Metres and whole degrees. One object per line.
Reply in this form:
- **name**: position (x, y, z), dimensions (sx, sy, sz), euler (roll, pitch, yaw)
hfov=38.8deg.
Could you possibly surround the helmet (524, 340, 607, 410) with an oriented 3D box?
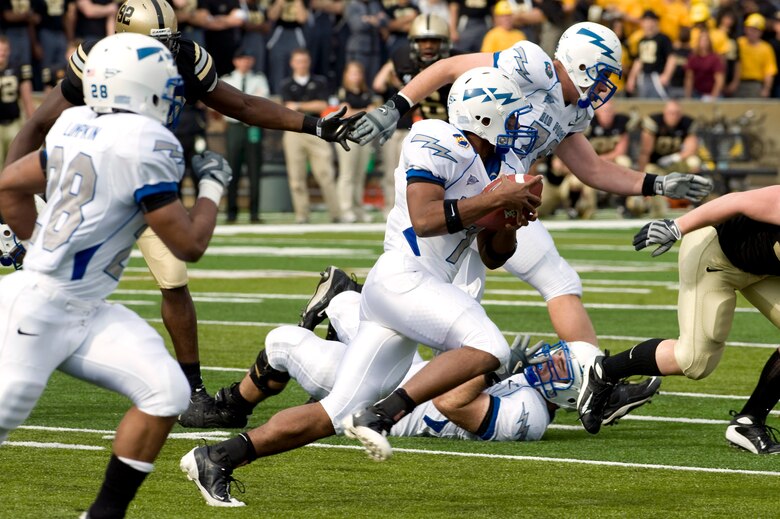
- **helmet**: position (0.877, 0.599, 5.827), dimensions (0.395, 0.287, 0.291), euler (18, 16, -11)

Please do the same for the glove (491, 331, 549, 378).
- **glove**: position (0.643, 0.516, 5.610), dimensions (0.268, 0.203, 0.099), euler (-26, 34, -14)

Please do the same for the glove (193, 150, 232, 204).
- **glove**: position (-0.773, -0.328, 4.775), dimensions (0.133, 0.224, 0.085), euler (-1, 43, -4)

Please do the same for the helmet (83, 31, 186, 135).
- **helmet**: position (-1.117, -0.729, 4.693), dimensions (0.379, 0.410, 0.473), euler (7, 7, 22)

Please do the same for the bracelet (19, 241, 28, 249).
- **bracelet**: position (-1.790, -0.067, 5.409), dimensions (0.037, 0.017, 0.048), euler (6, -20, -12)

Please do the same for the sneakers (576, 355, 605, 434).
- **sneakers**: position (1.065, 0.697, 5.703), dimensions (0.125, 0.374, 0.171), euler (8, -9, -36)

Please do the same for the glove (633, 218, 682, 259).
- **glove**: position (1.334, -0.088, 5.479), dimensions (0.060, 0.176, 0.222), euler (25, -37, -36)

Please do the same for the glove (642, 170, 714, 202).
- **glove**: position (1.600, -0.408, 6.210), dimensions (0.284, 0.104, 0.189), euler (15, 2, 7)

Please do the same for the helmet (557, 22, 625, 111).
- **helmet**: position (1.089, -1.095, 6.250), dimensions (0.411, 0.451, 0.358), euler (6, 14, -22)

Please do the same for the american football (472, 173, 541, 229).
- **american football**: position (0.527, -0.240, 4.955), dimensions (0.297, 0.179, 0.198), euler (-25, -3, -4)

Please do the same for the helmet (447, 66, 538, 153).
- **helmet**: position (0.475, -0.706, 5.204), dimensions (0.447, 0.368, 0.324), euler (4, 16, 6)

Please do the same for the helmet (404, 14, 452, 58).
- **helmet**: position (0.376, -2.119, 10.525), dimensions (0.397, 0.390, 0.509), euler (4, 20, 14)

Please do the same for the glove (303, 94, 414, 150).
- **glove**: position (-0.154, -0.737, 6.063), dimensions (0.477, 0.246, 0.171), euler (-15, 15, 17)
